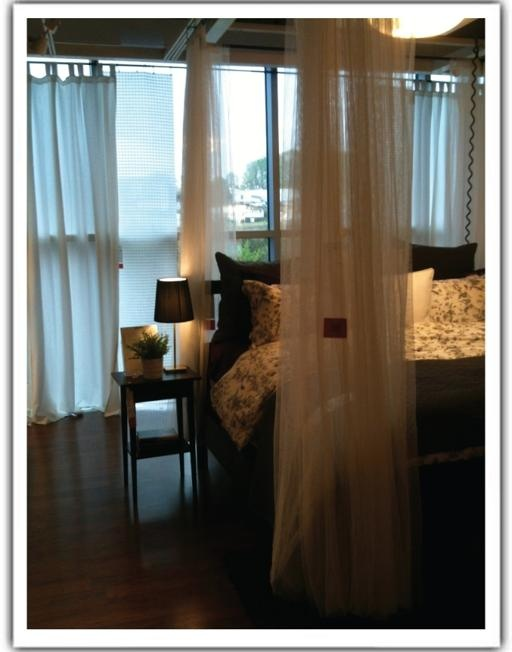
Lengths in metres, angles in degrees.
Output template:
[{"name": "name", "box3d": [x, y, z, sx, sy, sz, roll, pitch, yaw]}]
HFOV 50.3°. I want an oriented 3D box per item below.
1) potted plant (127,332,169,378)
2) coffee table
[{"name": "potted plant", "box3d": [-0.512, 0.142, 2.794, 0.120, 0.213, 0.128, 9, -2, 27]}, {"name": "coffee table", "box3d": [-0.527, 0.590, 2.856, 0.416, 1.025, 0.512, 0, -3, -22]}]
